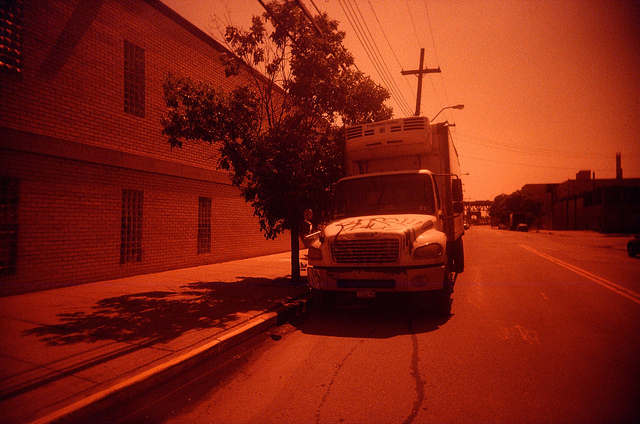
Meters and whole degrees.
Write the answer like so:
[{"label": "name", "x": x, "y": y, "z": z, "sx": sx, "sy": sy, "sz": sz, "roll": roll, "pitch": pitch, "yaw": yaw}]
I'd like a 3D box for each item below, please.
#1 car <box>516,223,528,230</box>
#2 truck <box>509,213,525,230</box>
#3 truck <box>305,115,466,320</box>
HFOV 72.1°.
[{"label": "car", "x": 32.336, "y": 2.438, "z": 70.423, "sx": 1.446, "sy": 1.284, "sz": 1.946, "roll": 6, "pitch": 13, "yaw": 30}, {"label": "truck", "x": 34.433, "y": 1.440, "z": 75.936, "sx": 2.179, "sy": 2.538, "sz": 4.398, "roll": 9, "pitch": 11, "yaw": 12}, {"label": "truck", "x": 1.758, "y": -0.118, "z": 10.990, "sx": 2.716, "sy": 3.677, "sz": 6.637, "roll": -3, "pitch": -10, "yaw": 18}]
